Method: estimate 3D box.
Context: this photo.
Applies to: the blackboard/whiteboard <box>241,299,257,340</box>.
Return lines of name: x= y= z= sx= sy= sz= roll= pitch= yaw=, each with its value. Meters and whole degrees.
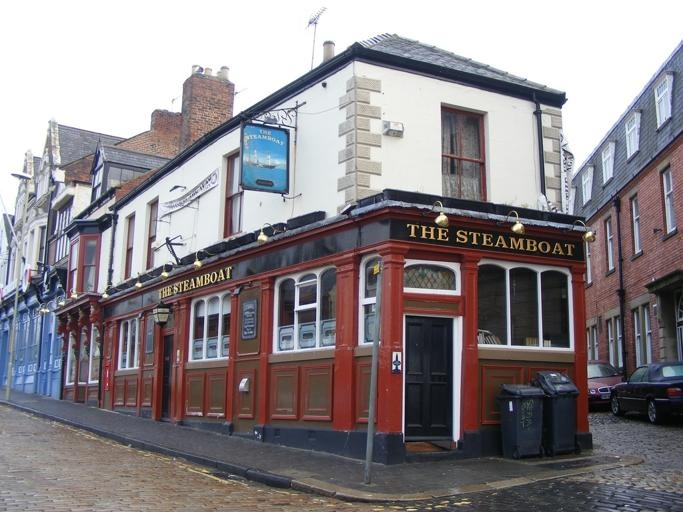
blackboard/whiteboard: x=-2.441 y=1.702 z=18.263 sx=0.106 sy=1.208 sz=0.856 roll=10 pitch=-18 yaw=-31

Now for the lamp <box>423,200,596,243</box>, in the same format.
lamp: x=3.883 y=-0.778 z=15.390 sx=4.543 sy=0.450 sz=0.842 roll=3 pitch=-1 yaw=-24

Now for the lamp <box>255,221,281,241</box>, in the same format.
lamp: x=-1.933 y=-0.676 z=17.712 sx=0.462 sy=0.575 sz=0.818 roll=9 pitch=-15 yaw=-37
